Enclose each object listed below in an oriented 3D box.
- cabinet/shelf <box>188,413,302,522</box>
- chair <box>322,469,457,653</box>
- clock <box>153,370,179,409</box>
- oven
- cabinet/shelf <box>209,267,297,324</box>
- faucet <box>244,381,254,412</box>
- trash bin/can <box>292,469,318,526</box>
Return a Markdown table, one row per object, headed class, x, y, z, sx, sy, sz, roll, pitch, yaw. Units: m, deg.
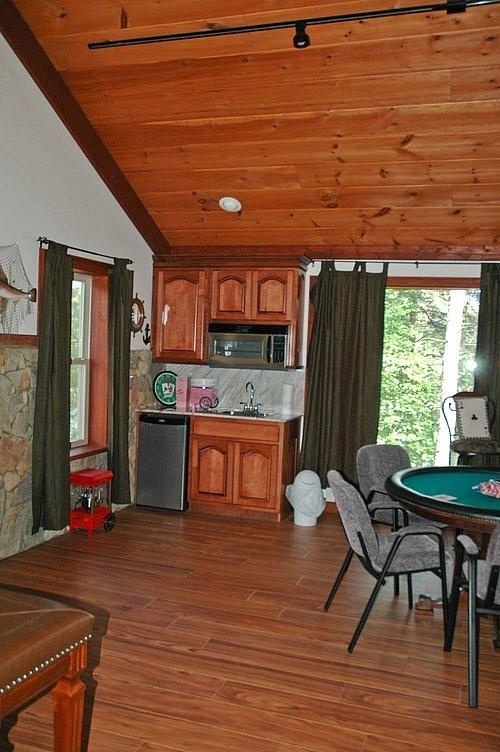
| class | x | y | z | sx | sy | sz | roll | pitch | yaw |
| --- | --- | --- | --- | --- | --- | --- | --- | --- | --- |
| cabinet/shelf | -0.065 | 0.838 | 5.231 | 0.926 | 0.929 | 0.520 | 2 | -1 | 24 |
| chair | 0.704 | 0.884 | 2.837 | 0.597 | 0.785 | 0.605 | -3 | 0 | -12 |
| clock | -0.864 | 0.144 | 5.603 | 0.311 | 0.315 | 0.068 | 14 | 2 | 10 |
| oven | -0.805 | 0.799 | 5.379 | 0.544 | 0.866 | 0.500 | 3 | 2 | -1 |
| cabinet/shelf | 0.073 | -0.765 | 5.369 | 0.874 | 0.567 | 0.450 | 3 | 4 | 18 |
| faucet | -0.013 | 0.198 | 5.517 | 0.102 | 0.235 | 0.266 | 2 | -1 | -1 |
| trash bin/can | 0.508 | 1.092 | 4.944 | 0.278 | 0.349 | 0.206 | 2 | -1 | 3 |
